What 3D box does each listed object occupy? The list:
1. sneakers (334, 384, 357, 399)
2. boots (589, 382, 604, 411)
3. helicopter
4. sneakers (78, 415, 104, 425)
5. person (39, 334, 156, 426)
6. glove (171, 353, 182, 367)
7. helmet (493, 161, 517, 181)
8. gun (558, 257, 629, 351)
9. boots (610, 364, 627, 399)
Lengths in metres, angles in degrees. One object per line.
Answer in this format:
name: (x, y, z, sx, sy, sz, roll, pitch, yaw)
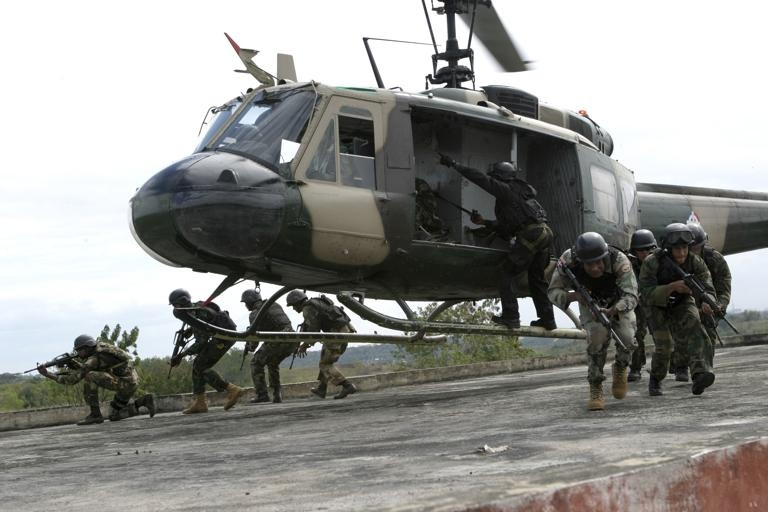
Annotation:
sneakers: (-0.647, 2.185, 11.080, 0.328, 0.192, 0.429, -2, -1, -5)
boots: (2.064, 1.387, 6.754, 0.147, 0.214, 0.363, -3, -1, 16)
helicopter: (0.639, -0.926, 10.355, 8.107, 2.737, 5.845, 7, -10, -36)
sneakers: (-4.477, 2.493, 10.381, 0.440, 0.152, 0.134, 2, -4, -11)
person: (-4.368, 1.895, 10.592, 1.293, 1.463, 1.129, -3, -1, 29)
glove: (-3.255, 1.646, 10.759, 0.101, 0.324, 0.138, 17, 30, -20)
helmet: (1.610, -1.164, 9.113, 0.347, 0.243, 0.243, -14, 24, -12)
gun: (2.125, 0.492, 7.119, 0.701, 0.875, 0.441, -3, -1, 25)
boots: (2.518, 1.353, 7.345, 0.160, 0.393, 0.169, 1, 7, 9)
